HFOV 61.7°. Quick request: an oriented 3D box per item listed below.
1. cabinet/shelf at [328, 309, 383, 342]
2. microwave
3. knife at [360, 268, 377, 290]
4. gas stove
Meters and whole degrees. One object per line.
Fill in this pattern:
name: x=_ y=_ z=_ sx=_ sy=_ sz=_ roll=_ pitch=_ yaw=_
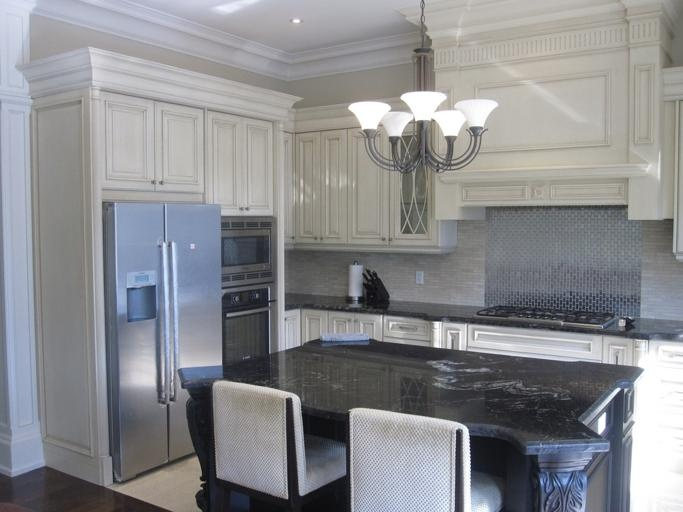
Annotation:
cabinet/shelf: x=0.104 y=0.646 z=5.350 sx=0.578 sy=0.231 sz=0.153 roll=4 pitch=8 yaw=38
microwave: x=-0.785 y=-0.006 z=5.183 sx=0.676 sy=0.608 sz=0.405 roll=-4 pitch=-5 yaw=31
knife: x=0.275 y=0.237 z=5.815 sx=0.143 sy=0.196 sz=0.066 roll=-25 pitch=-19 yaw=13
gas stove: x=1.692 y=0.493 z=4.748 sx=1.044 sy=0.040 sz=0.630 roll=3 pitch=7 yaw=30
